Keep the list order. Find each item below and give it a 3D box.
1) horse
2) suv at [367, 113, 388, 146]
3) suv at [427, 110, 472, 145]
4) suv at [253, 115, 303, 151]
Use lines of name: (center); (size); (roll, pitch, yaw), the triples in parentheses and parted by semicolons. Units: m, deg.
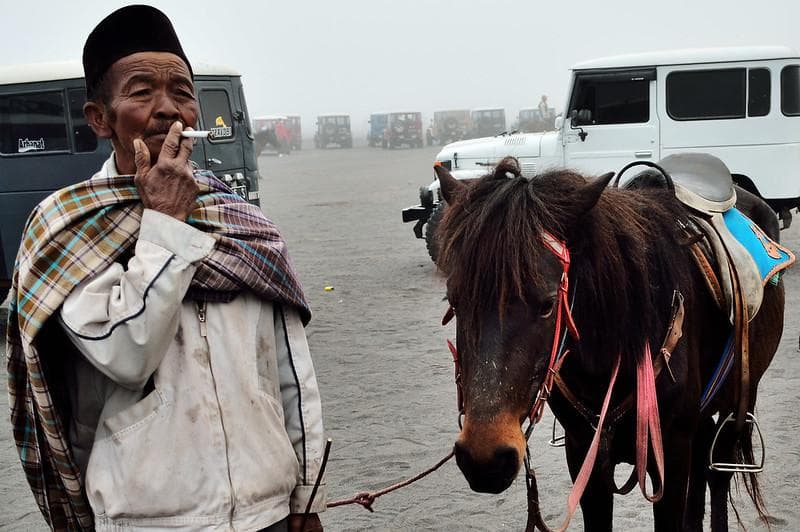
horse: (0.993, 0.529, 4.457); (0.828, 2.137, 2.146); (5, 13, 41)
suv: (-1.249, -7.921, 54.727); (1.216, 1.302, 2.066); (-1, 11, -4)
suv: (2.849, -7.863, 52.705); (1.387, 1.461, 2.602); (-2, 15, -5)
suv: (-6.639, -7.195, 50.801); (1.757, 2.087, 3.402); (1, 10, 2)
